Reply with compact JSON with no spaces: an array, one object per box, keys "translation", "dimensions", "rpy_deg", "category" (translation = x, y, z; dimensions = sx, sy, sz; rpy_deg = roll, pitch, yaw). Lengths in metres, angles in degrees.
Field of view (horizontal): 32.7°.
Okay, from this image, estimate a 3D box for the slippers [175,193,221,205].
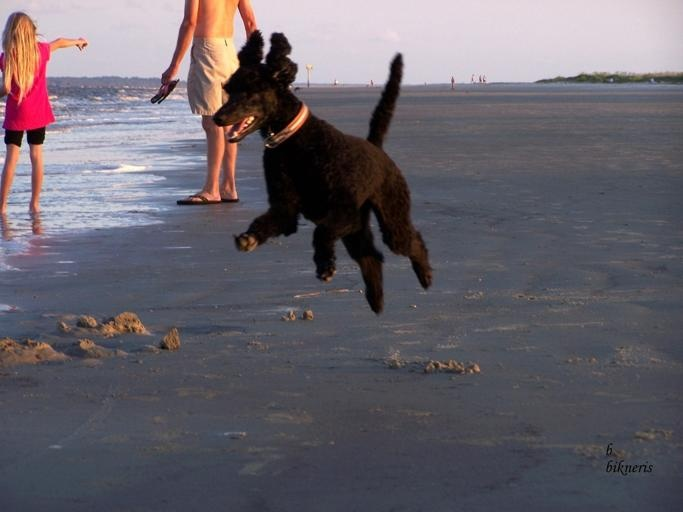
[{"translation":[-1.544,-0.608,12.597],"dimensions":[0.393,0.095,0.166],"rpy_deg":[0,0,-31],"category":"slippers"}]
